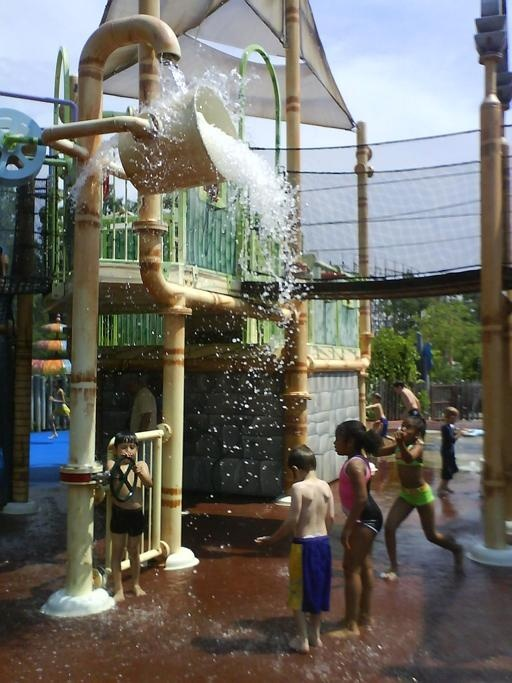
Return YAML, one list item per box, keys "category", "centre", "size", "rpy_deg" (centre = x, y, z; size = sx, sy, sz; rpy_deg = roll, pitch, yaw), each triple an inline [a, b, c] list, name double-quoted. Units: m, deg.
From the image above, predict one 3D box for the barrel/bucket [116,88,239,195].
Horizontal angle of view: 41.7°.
- category: "barrel/bucket"
  centre: [-0.559, -1.407, 4.736]
  size: [0.758, 0.603, 0.516]
  rpy_deg: [-2, -4, 31]

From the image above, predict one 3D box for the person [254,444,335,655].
- category: "person"
  centre: [0.300, 1.321, 4.354]
  size: [0.365, 1.273, 0.521]
  rpy_deg: [-2, -4, 26]

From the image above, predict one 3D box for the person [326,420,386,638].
- category: "person"
  centre: [0.697, 1.258, 4.675]
  size: [0.340, 1.415, 0.567]
  rpy_deg: [-1, -4, 11]

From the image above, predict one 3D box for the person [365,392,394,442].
- category: "person"
  centre: [2.402, 1.594, 13.691]
  size: [0.586, 1.092, 0.429]
  rpy_deg: [-5, -2, -3]

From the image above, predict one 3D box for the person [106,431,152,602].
- category: "person"
  centre: [-0.987, 1.347, 5.281]
  size: [0.336, 1.256, 0.659]
  rpy_deg: [1, -4, -10]
